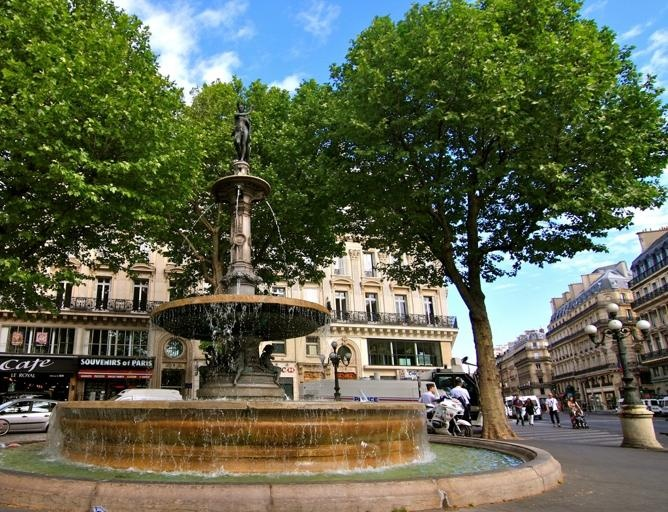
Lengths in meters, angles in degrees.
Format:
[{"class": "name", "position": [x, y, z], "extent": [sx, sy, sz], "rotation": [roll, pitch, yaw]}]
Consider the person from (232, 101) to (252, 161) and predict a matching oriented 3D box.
[{"class": "person", "position": [-2.835, -3.827, 13.566], "extent": [0.511, 2.393, 0.855], "rotation": [2, -17, -13]}]
